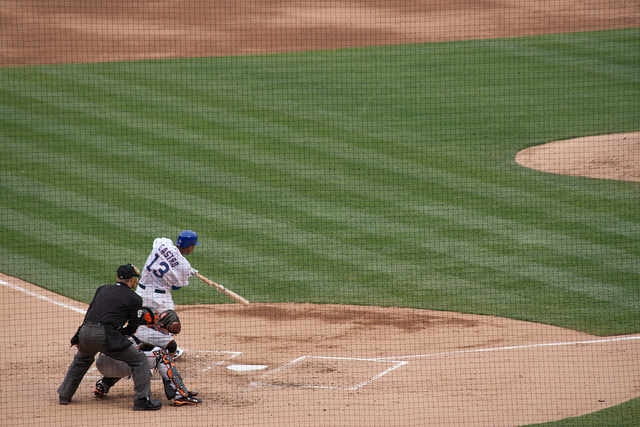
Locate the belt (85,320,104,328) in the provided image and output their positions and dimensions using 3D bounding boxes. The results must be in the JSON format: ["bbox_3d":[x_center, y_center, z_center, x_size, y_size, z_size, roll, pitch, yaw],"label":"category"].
[{"bbox_3d":[-5.024,2.464,27.331,0.441,0.135,0.040,4,-16,4],"label":"belt"}]

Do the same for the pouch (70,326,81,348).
[{"bbox_3d":[-5.488,2.749,27.617,0.179,0.433,0.603,10,-15,-10],"label":"pouch"}]
